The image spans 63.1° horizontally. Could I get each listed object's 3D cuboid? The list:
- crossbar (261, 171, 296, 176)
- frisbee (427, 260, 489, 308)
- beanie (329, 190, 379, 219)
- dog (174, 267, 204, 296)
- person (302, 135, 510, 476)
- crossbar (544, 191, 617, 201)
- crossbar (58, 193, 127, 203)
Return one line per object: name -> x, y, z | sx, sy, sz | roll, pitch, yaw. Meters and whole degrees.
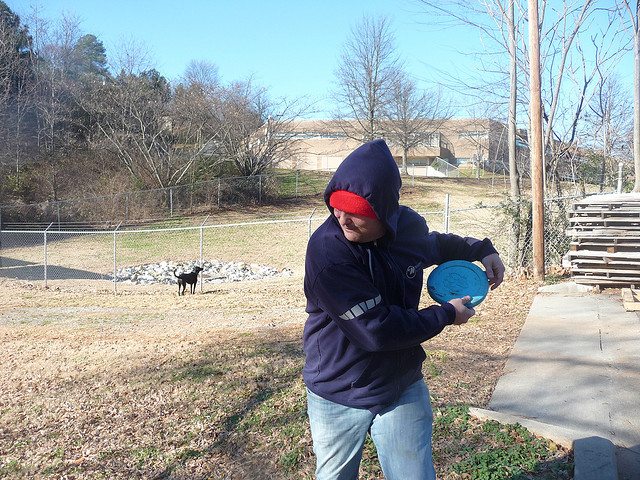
crossbar -> -3.074, -4.884, 38.286 | 0.575, 0.240, 5.937 | -2, 6, 17
frisbee -> 1.071, 0.336, 4.041 | 0.463, 0.331, 0.373 | -2, 6, 18
beanie -> 0.227, -0.257, 3.673 | 0.239, 0.088, 0.214 | 24, 0, -13
dog -> -4.076, 1.273, 16.026 | 0.617, 0.739, 1.119 | -4, 6, 0
person -> 0.531, 0.497, 3.824 | 1.325, 2.436, 0.561 | -6, 6, -17
crossbar -> 6.900, -1.160, 13.762 | 0.966, 0.164, 5.232 | -1, 7, 32
crossbar -> -13.787, -2.502, 30.994 | 3.546, 0.262, 1.085 | -6, 6, -22
